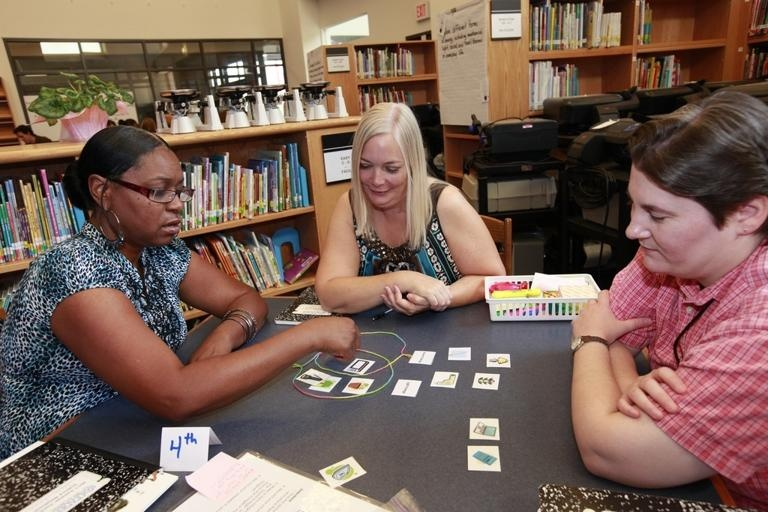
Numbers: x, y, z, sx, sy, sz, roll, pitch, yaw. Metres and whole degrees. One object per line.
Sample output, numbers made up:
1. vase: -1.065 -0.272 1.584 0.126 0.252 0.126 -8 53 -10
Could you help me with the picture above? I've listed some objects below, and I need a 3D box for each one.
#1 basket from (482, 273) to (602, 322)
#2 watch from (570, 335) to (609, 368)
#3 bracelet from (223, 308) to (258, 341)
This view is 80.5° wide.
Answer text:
1. basket: 0.565 0.138 1.621 0.322 0.088 0.204 -2 18 4
2. watch: 0.575 0.283 1.304 0.106 0.059 0.103 17 -9 -13
3. bracelet: -0.531 0.236 1.671 0.108 0.110 0.053 1 36 31
